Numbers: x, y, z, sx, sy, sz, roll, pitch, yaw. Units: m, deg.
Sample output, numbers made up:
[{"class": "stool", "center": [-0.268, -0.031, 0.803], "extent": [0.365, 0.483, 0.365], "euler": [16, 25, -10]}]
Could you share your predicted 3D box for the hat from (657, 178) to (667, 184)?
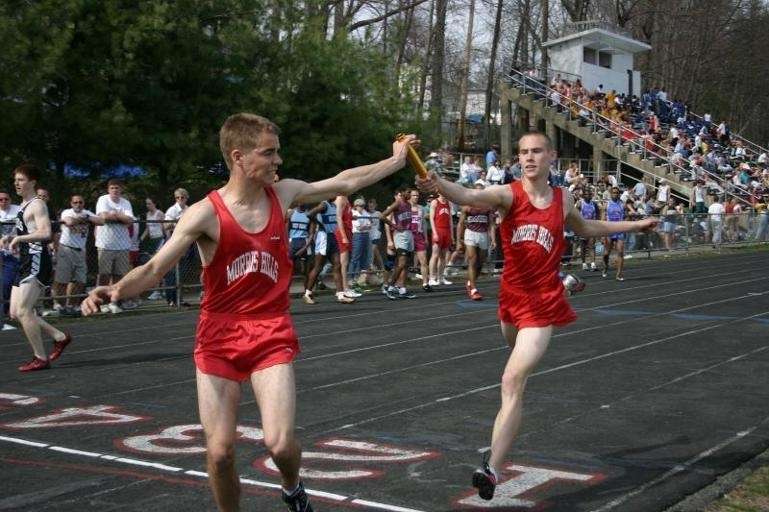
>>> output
[{"class": "hat", "center": [12.519, -3.393, 40.302], "extent": [0.326, 0.244, 0.253], "euler": [5, 11, -45]}]

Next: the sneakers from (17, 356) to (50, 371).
[{"class": "sneakers", "center": [-5.055, 1.565, 12.942], "extent": [0.452, 0.113, 0.208], "euler": [2, -2, -13]}]

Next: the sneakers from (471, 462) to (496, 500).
[{"class": "sneakers", "center": [0.993, 2.174, 8.732], "extent": [0.227, 0.343, 0.226], "euler": [0, 5, 29]}]
